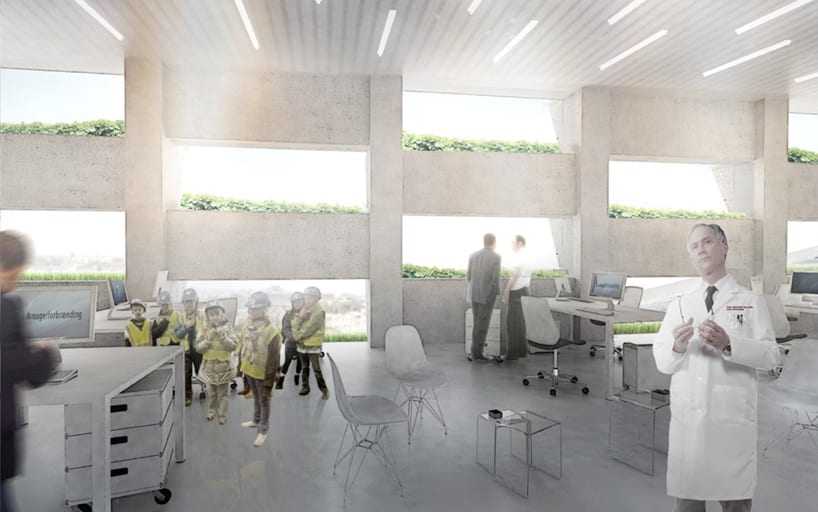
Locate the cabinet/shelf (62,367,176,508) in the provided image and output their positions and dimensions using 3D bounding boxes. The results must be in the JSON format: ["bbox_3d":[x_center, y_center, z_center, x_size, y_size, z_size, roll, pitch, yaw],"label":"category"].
[{"bbox_3d":[-3.782,2.017,7.173,1.396,1.459,2.081,-1,0,-9],"label":"cabinet/shelf"}]

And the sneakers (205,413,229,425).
[{"bbox_3d":[-2.847,2.428,7.951,0.380,0.148,0.124,0,3,26],"label":"sneakers"}]

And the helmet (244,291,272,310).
[{"bbox_3d":[-2.120,0.624,7.501,0.284,0.192,0.220,-11,14,-35],"label":"helmet"}]

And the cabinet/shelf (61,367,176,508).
[{"bbox_3d":[-3.822,2.061,7.124,1.388,1.538,2.178,-1,0,-11],"label":"cabinet/shelf"}]

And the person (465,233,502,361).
[{"bbox_3d":[1.461,0.809,10.360,0.624,2.471,0.321,-2,3,5],"label":"person"}]

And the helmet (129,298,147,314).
[{"bbox_3d":[-4.293,0.822,8.516,0.274,0.131,0.368,-1,-10,-11],"label":"helmet"}]

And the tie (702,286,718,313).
[{"bbox_3d":[3.318,0.476,5.891,0.088,0.315,0.089,17,-11,-38],"label":"tie"}]

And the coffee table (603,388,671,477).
[{"bbox_3d":[3.208,2.425,7.516,1.004,0.871,0.956,-1,4,-29],"label":"coffee table"}]

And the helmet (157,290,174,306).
[{"bbox_3d":[-3.942,0.688,8.612,0.231,0.189,0.321,0,2,-8],"label":"helmet"}]

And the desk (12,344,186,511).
[{"bbox_3d":[-3.521,2.037,6.657,1.946,1.316,1.815,0,3,-1],"label":"desk"}]

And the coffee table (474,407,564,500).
[{"bbox_3d":[1.475,2.600,7.321,1.127,0.784,1.066,-5,8,-28],"label":"coffee table"}]

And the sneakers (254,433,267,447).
[{"bbox_3d":[-2.086,2.566,7.498,0.188,0.149,0.209,-3,3,-16],"label":"sneakers"}]

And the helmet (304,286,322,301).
[{"bbox_3d":[-1.580,0.625,8.737,0.240,0.187,0.215,3,1,37],"label":"helmet"}]

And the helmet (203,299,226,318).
[{"bbox_3d":[-2.845,0.770,7.828,0.231,0.230,0.307,-4,7,-14],"label":"helmet"}]
